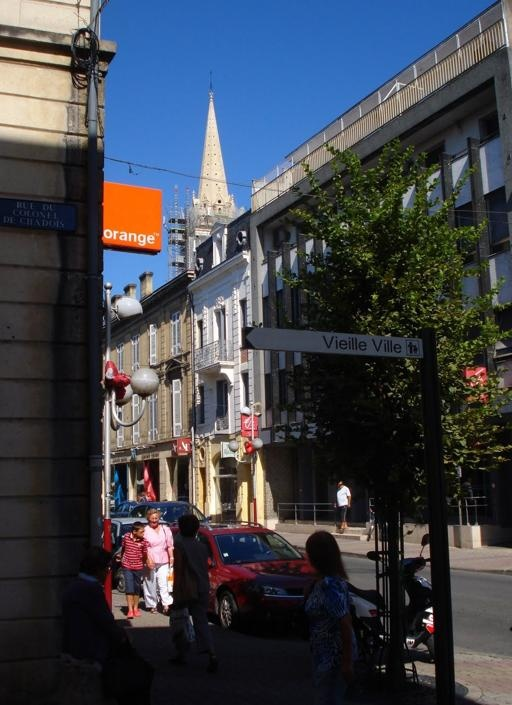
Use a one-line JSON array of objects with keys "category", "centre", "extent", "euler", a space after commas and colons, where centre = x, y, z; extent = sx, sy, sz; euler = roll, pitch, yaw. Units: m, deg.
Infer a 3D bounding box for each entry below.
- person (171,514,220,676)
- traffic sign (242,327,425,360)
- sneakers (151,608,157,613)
[{"category": "person", "centre": [-0.613, 2.299, 8.497], "extent": [0.415, 1.456, 0.529], "euler": [2, -7, -25]}, {"category": "traffic sign", "centre": [0.500, -0.057, 5.449], "extent": [1.306, 0.150, 0.207], "euler": [4, -9, -35]}, {"category": "sneakers", "centre": [-1.455, 3.708, 12.668], "extent": [0.052, 0.042, 0.141], "euler": [0, -6, -3]}]
